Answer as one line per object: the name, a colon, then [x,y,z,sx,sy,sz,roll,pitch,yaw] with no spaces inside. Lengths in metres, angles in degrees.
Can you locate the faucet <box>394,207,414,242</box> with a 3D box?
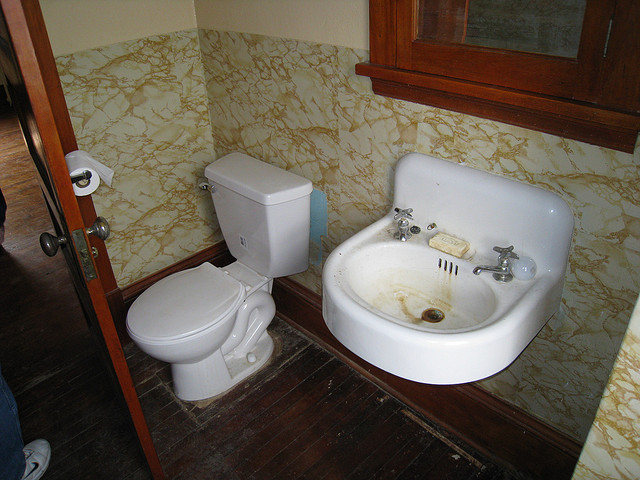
faucet: [0.296,-0.048,1.567,0.081,0.093,0.085,-2,47,25]

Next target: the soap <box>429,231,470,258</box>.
soap: [0.440,0.014,1.517,0.124,0.031,0.095,18,38,26]

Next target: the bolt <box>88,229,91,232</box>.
bolt: [-0.689,-0.028,1.339,0.006,0.007,0.010,-10,34,-14]

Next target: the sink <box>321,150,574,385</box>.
sink: [0.359,0.077,1.380,0.635,0.414,0.613,24,41,33]

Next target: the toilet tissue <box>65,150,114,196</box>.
toilet tissue: [-0.821,-0.231,1.598,0.126,0.140,0.195,-21,38,-28]

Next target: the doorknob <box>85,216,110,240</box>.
doorknob: [-0.680,-0.046,1.386,0.061,0.085,0.082,-22,30,-39]

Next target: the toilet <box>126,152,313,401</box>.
toilet: [-0.482,0.219,2.079,0.507,0.943,0.860,20,34,30]
